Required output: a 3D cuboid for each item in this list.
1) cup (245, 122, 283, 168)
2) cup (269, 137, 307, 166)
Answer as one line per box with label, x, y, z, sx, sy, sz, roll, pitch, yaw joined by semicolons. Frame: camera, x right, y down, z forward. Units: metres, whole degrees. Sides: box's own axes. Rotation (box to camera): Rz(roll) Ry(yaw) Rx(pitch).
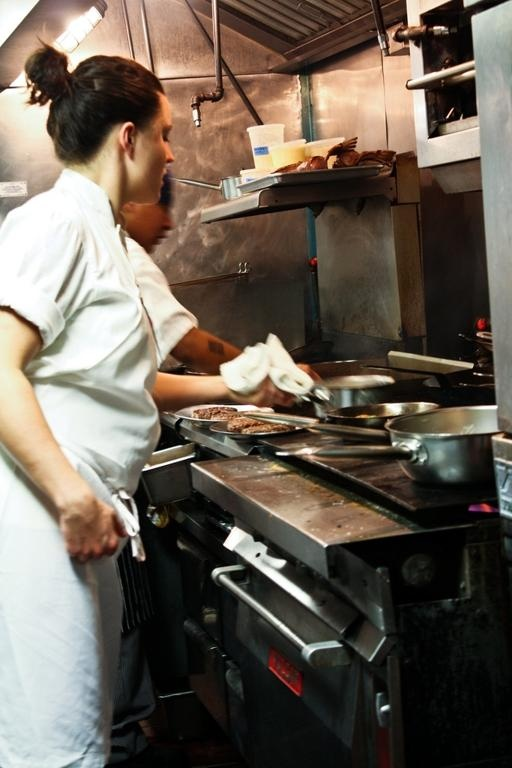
cup;0.041;-1.067;2.650;0.208;0.219;0.203;-1;3;0
cup;0.133;-0.951;2.462;0.145;0.104;0.143;-10;3;1
